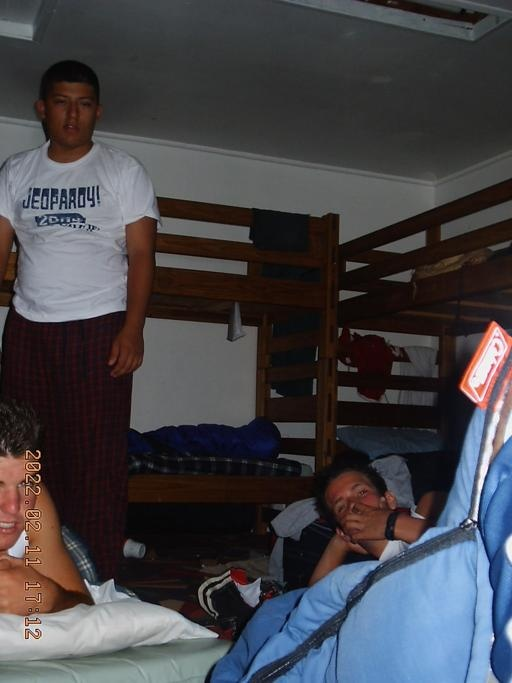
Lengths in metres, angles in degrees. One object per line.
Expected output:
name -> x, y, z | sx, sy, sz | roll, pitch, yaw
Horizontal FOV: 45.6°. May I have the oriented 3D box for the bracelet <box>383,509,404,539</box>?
bracelet -> 0.291, 0.395, 1.314 | 0.029, 0.050, 0.040 | 4, -31, -3
